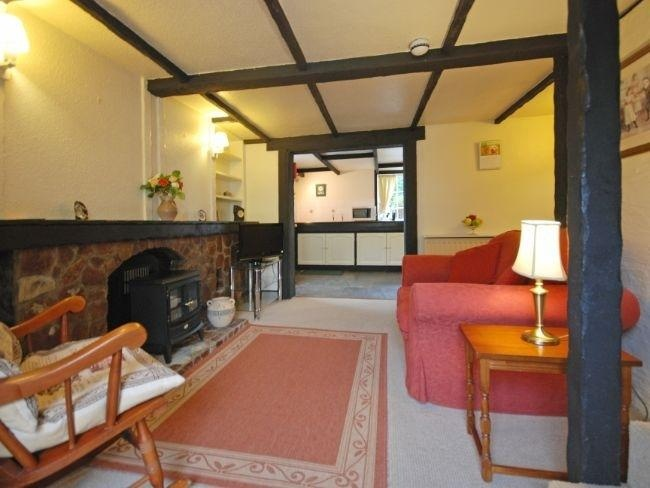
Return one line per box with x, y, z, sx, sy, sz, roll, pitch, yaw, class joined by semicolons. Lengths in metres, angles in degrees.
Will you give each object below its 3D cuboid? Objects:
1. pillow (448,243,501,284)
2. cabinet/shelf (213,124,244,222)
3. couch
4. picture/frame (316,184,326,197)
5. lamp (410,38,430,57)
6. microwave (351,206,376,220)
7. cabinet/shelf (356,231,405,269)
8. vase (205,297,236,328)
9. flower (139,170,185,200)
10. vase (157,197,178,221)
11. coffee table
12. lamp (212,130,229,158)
1.191;0.138;3.865;0.120;0.317;0.313;25;-17;-34;pillow
-1.219;-0.833;5.938;0.303;1.103;0.798;-1;6;4;cabinet/shelf
1.152;0.535;3.591;1.093;1.204;1.722;0;1;16;couch
-0.094;-1.102;9.942;0.246;0.284;0.037;0;-2;12;picture/frame
0.738;-1.531;3.794;0.163;0.098;0.187;0;6;11;lamp
0.723;-0.677;9.573;0.406;0.265;0.222;2;6;12;microwave
0.929;0.088;8.382;0.922;0.599;0.527;-1;-4;18;cabinet/shelf
-0.966;0.636;4.512;0.278;0.242;0.252;-1;-6;0;vase
-1.416;-0.464;4.241;0.285;0.204;0.284;1;-2;44;flower
-1.378;-0.303;4.224;0.190;0.195;0.192;-1;1;-2;vase
1.315;0.818;3.029;0.874;0.759;0.904;1;1;10;coffee table
-1.147;-1.119;5.411;0.265;0.271;0.246;-2;9;-1;lamp
